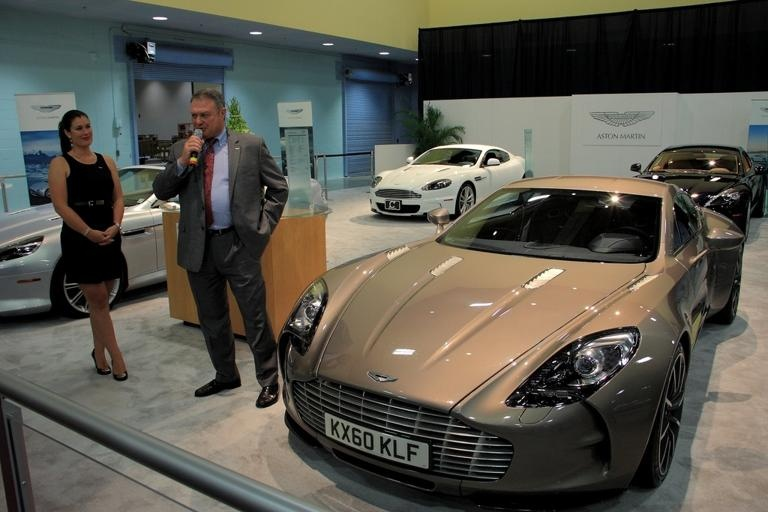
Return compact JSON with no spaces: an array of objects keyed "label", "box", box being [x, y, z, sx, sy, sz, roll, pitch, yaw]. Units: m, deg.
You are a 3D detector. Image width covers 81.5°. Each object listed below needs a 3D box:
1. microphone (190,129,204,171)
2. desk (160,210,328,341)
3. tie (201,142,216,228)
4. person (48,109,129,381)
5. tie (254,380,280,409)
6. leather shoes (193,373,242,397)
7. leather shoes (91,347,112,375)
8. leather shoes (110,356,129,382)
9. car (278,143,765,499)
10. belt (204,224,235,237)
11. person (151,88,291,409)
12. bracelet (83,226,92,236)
[{"label":"microphone","box":[-1.226,-0.697,2.924,0.072,0.264,0.068,-1,-10,-7]},{"label":"desk","box":[-1.031,0.131,3.423,1.176,0.980,0.643,4,7,39]},{"label":"tie","box":[-1.193,-0.489,3.046,0.082,0.559,0.185,-4,15,-8]},{"label":"person","box":[-2.255,-0.060,3.483,0.384,2.067,0.417,-1,15,4]},{"label":"tie","box":[-0.829,0.989,3.152,0.099,0.083,0.203,0,7,12]},{"label":"leather shoes","box":[-1.260,0.958,3.384,0.345,0.123,0.115,-6,9,-24]},{"label":"leather shoes","box":[-2.349,0.912,3.694,0.115,0.129,0.340,-9,43,-43]},{"label":"leather shoes","box":[-2.118,0.909,3.561,0.084,0.106,0.270,-4,8,-34]},{"label":"car","box":[1.174,0.203,2.930,1.541,0.887,3.050,7,13,36]},{"label":"belt","box":[-1.121,-0.168,3.033,0.181,0.057,0.026,-3,15,-6]},{"label":"person","box":[-1.115,-0.052,3.166,0.779,2.144,0.494,3,15,17]},{"label":"bracelet","box":[-2.199,-0.183,3.299,0.015,0.056,0.056,18,51,-20]}]
